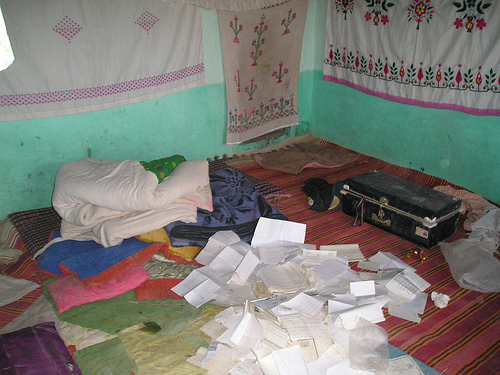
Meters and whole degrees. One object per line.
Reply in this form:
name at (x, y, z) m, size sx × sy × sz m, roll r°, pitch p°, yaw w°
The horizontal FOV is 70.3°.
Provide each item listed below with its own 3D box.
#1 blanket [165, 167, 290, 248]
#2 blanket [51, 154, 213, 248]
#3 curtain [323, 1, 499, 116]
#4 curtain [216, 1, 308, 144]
blanket at (-0.232, 0.182, 3.309) m, size 0.734 × 0.105 × 0.757 m, roll -9°, pitch 43°, yaw -23°
blanket at (-1.023, 0.088, 3.033) m, size 0.954 × 0.315 × 0.936 m, roll -9°, pitch 33°, yaw -21°
curtain at (1.868, -1.493, 4.016) m, size 0.086 × 1.070 × 1.638 m, roll -29°, pitch 39°, yaw -32°
curtain at (0.117, -1.506, 4.479) m, size 1.513 × 1.808 × 0.141 m, roll -22°, pitch 44°, yaw -25°
